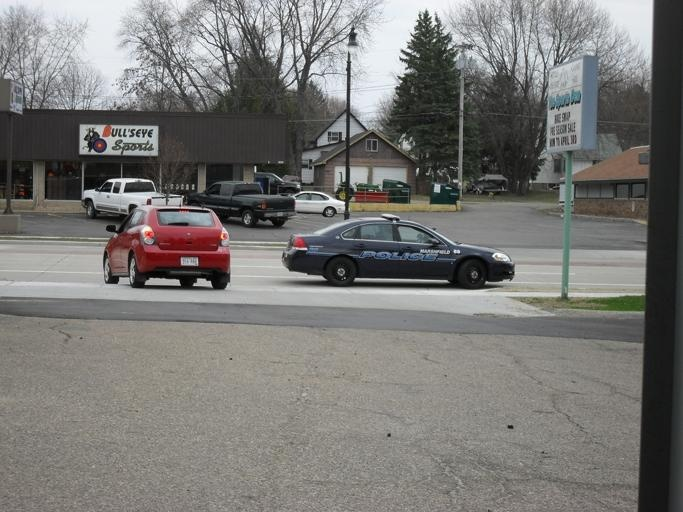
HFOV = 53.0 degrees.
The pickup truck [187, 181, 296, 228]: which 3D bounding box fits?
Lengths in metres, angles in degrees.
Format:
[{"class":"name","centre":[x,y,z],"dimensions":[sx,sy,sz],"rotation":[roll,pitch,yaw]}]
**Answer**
[{"class":"pickup truck","centre":[-6.073,-3.081,39.404],"dimensions":[6.550,2.519,2.870],"rotation":[8,9,35]}]

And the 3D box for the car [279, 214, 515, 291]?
[{"class":"car","centre":[1.697,-0.120,20.928],"dimensions":[7.240,2.657,2.602],"rotation":[1,3,4]}]

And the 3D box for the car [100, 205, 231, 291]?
[{"class":"car","centre":[-4.135,-0.220,16.060],"dimensions":[1.659,1.302,2.861],"rotation":[0,8,-20]}]
